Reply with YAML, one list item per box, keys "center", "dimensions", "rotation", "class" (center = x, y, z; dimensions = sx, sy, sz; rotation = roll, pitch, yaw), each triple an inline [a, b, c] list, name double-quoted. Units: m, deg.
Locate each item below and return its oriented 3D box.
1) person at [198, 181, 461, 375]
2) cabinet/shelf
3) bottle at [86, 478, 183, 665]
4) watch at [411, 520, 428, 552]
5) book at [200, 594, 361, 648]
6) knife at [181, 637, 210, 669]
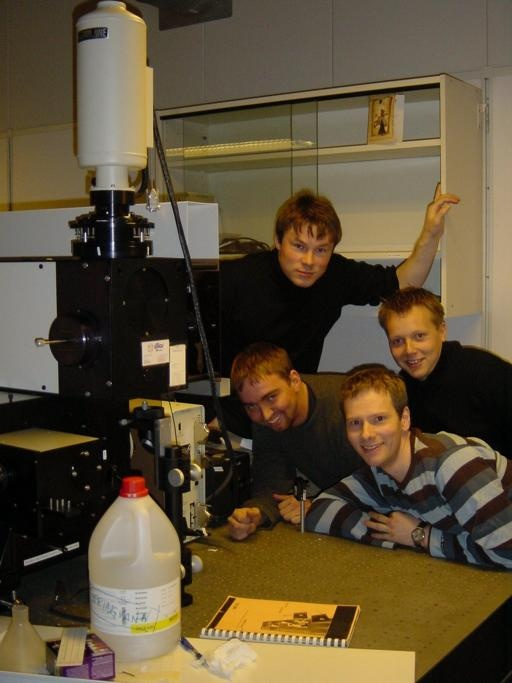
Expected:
- center: [0.292, -0.268, 2.462]
  dimensions: [0.902, 0.963, 0.219]
  rotation: [-1, 12, -15]
  class: "person"
- center: [0.290, -0.562, 2.460]
  dimensions: [1.237, 0.871, 0.371]
  rotation: [1, 1, 22]
  class: "cabinet/shelf"
- center: [-0.169, 0.319, 0.876]
  dimensions: [0.131, 0.253, 0.098]
  rotation: [2, -2, -8]
  class: "bottle"
- center: [0.369, 0.439, 1.397]
  dimensions: [0.033, 0.053, 0.049]
  rotation: [4, -14, 16]
  class: "watch"
- center: [0.047, 0.458, 1.023]
  dimensions: [0.240, 0.018, 0.178]
  rotation: [2, -1, 10]
  class: "book"
- center: [-0.090, 0.447, 0.896]
  dimensions: [0.017, 0.009, 0.053]
  rotation: [-10, 15, -32]
  class: "knife"
